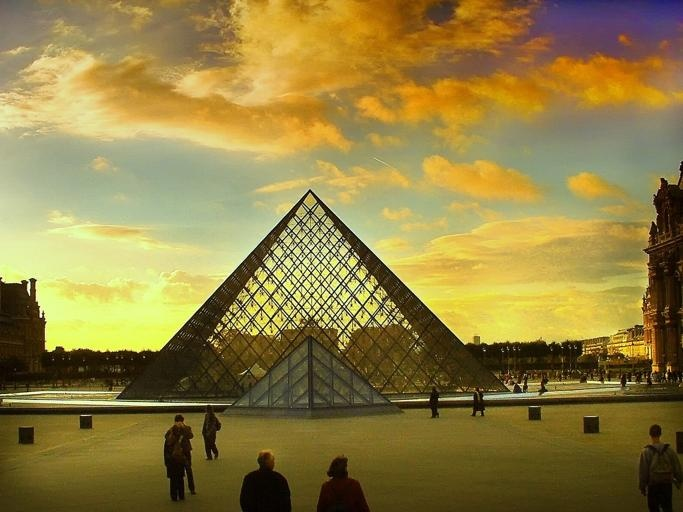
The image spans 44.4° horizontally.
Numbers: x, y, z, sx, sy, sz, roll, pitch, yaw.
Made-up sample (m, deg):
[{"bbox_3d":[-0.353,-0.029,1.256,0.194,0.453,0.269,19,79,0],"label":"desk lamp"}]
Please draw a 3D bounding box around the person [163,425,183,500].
[{"bbox_3d":[-2.707,3.317,13.530,0.362,1.143,0.369,2,-10,-4],"label":"person"}]

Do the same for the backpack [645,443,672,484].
[{"bbox_3d":[4.263,2.759,11.226,0.343,0.498,0.119,-2,-11,15],"label":"backpack"}]
